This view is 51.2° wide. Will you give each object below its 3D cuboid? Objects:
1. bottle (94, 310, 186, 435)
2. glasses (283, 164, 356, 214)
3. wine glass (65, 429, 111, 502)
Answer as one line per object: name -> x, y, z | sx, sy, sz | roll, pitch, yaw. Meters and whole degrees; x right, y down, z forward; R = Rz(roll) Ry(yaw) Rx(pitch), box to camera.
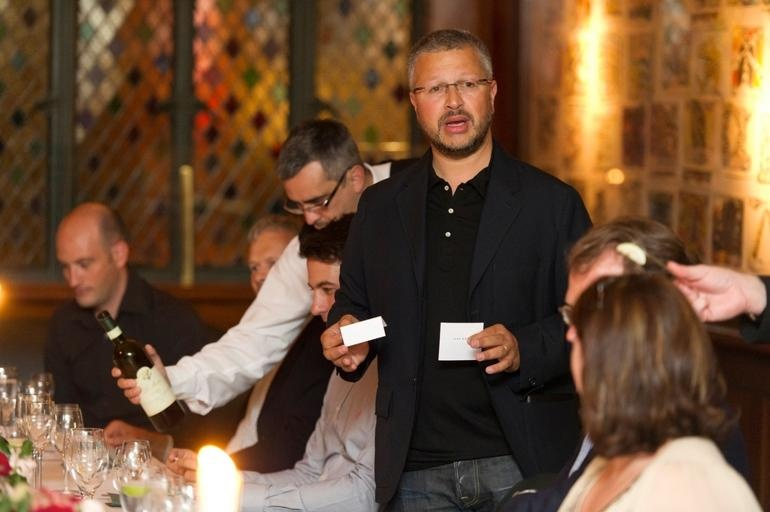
bottle -> -0.873, 0.395, 2.814 | 0.352, 0.424, 0.197 | 3, 7, 39
glasses -> -0.276, -0.265, 3.275 | 0.207, 0.063, 0.213 | -13, 28, 51
wine glass -> -0.957, 0.660, 2.530 | 0.140, 0.230, 0.096 | -2, 6, -6
